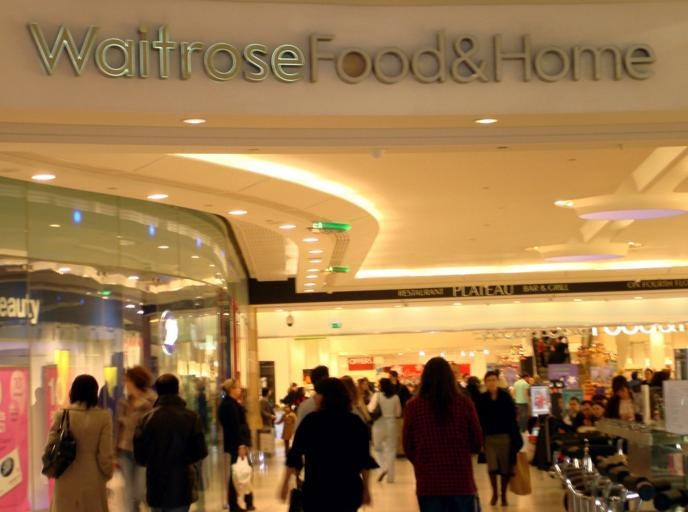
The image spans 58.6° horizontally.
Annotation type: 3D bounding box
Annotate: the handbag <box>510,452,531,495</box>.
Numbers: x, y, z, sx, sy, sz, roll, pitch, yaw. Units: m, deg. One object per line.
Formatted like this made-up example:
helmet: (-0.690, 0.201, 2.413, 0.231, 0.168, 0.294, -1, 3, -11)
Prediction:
handbag: (2.557, 3.208, 8.982, 0.305, 0.688, 0.768, -6, -13, 13)

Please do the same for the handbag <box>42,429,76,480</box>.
handbag: (-2.438, 1.683, 5.252, 0.264, 0.382, 0.112, 1, -14, -15)

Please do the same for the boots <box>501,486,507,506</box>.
boots: (2.348, 3.546, 9.003, 0.097, 0.195, 0.342, -6, -13, 13)
